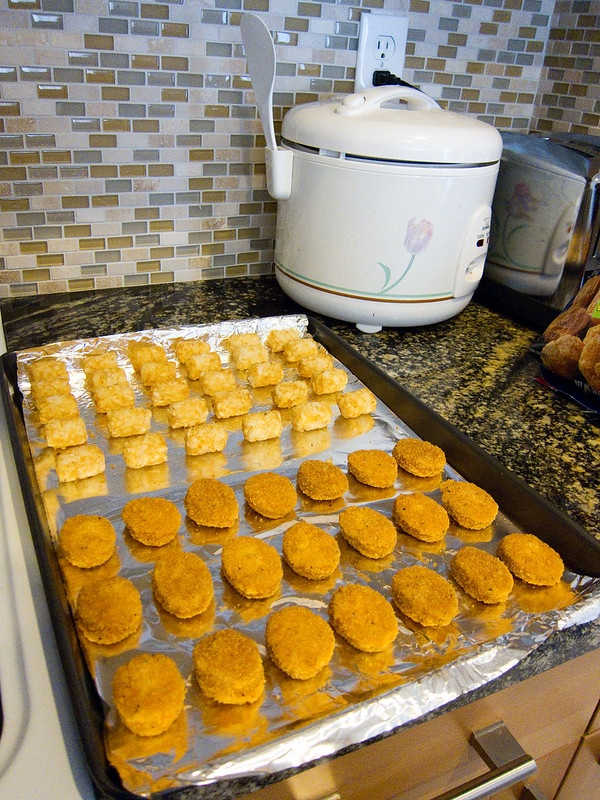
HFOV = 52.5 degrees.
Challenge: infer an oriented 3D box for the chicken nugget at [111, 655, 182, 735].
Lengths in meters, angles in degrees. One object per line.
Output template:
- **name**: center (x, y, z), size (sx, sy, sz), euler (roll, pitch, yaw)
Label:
- **chicken nugget**: center (-0.106, 0.207, 0.433), size (0.049, 0.019, 0.058), euler (8, 21, -14)

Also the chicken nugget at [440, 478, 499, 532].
- **chicken nugget**: center (0.187, 0.110, 0.660), size (0.044, 0.016, 0.055), euler (-9, 33, -18)

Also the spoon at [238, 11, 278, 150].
- **spoon**: center (-0.057, -0.446, 0.884), size (0.031, 0.194, 0.061), euler (-21, 36, -38)

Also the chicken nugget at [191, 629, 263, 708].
- **chicken nugget**: center (-0.054, 0.199, 0.461), size (0.050, 0.020, 0.065), euler (4, 18, -19)

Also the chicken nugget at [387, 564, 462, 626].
- **chicken nugget**: center (0.112, 0.175, 0.549), size (0.051, 0.025, 0.062), euler (-20, 38, -36)

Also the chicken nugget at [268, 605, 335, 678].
- **chicken nugget**: center (0.001, 0.193, 0.492), size (0.052, 0.019, 0.063), euler (-7, 31, -18)

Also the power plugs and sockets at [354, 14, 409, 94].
- **power plugs and sockets**: center (0.163, -0.655, 1.149), size (0.127, 0.127, 0.045), euler (-24, 41, -39)

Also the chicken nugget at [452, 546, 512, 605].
- **chicken nugget**: center (0.172, 0.165, 0.577), size (0.046, 0.027, 0.059), euler (-17, 37, -33)

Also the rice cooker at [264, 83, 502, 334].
- **rice cooker**: center (0.138, -0.328, 1.048), size (0.406, 0.360, 0.360), euler (17, 30, 21)

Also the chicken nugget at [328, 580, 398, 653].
- **chicken nugget**: center (0.054, 0.186, 0.522), size (0.049, 0.023, 0.065), euler (-6, 32, -17)
